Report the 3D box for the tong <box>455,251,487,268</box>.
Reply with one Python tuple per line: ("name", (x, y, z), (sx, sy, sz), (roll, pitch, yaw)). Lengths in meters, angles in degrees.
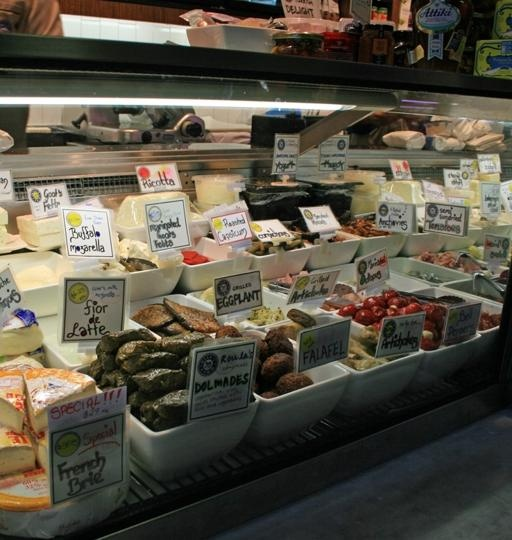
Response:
("tong", (0.921, -0.042, 1.925), (0.108, 0.024, 0.068), (15, 18, 9))
